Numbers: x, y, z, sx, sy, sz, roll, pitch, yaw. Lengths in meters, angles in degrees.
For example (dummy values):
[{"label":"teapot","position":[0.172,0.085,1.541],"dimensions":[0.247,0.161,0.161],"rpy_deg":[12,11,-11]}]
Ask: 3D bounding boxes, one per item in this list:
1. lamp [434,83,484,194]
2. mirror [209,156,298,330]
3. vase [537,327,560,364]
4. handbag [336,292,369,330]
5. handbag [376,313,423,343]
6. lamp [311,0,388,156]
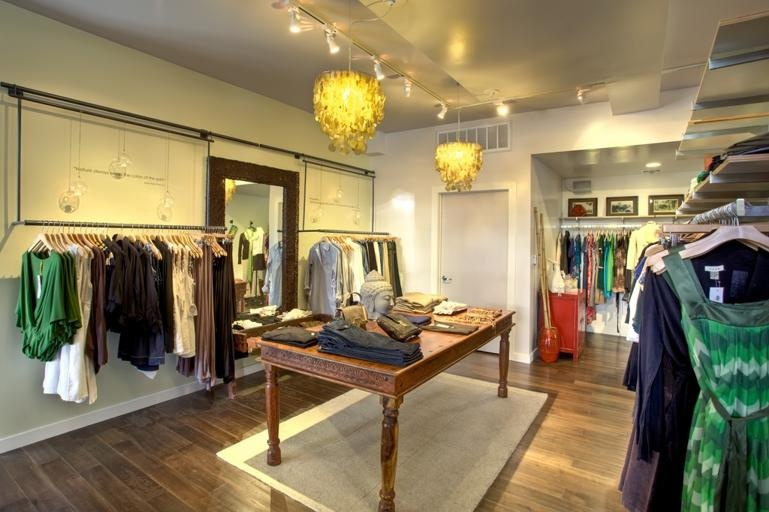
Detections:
[{"label":"lamp","position":[0.860,-1.157,5.403],"dimensions":[0.471,0.745,0.468],"rpy_deg":[-10,24,-22]},{"label":"mirror","position":[-1.534,-0.233,6.110],"dimensions":[0.241,1.972,1.315],"rpy_deg":[13,18,42]},{"label":"vase","position":[2.212,1.200,6.619],"dimensions":[0.267,0.462,0.235],"rpy_deg":[4,14,17]},{"label":"handbag","position":[-0.319,0.528,4.741],"dimensions":[0.193,0.380,0.343],"rpy_deg":[-1,-1,43]},{"label":"handbag","position":[0.104,0.617,4.314],"dimensions":[0.258,0.086,0.247],"rpy_deg":[19,14,21]},{"label":"lamp","position":[-0.313,-1.231,4.081],"dimensions":[0.671,1.606,0.682],"rpy_deg":[0,4,-1]}]
